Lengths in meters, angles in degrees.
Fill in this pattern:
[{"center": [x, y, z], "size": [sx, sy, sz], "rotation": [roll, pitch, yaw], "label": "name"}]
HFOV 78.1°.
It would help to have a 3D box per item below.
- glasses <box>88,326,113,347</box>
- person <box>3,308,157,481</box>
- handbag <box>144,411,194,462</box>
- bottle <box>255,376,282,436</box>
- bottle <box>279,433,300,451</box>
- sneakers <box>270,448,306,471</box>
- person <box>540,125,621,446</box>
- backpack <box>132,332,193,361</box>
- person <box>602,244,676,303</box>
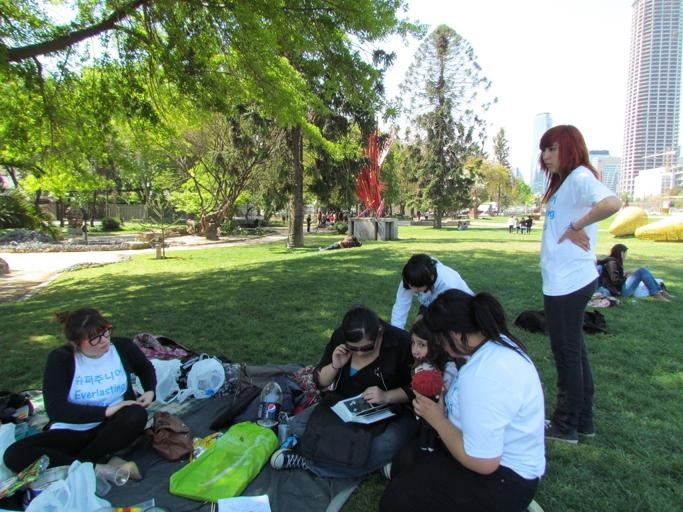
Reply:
[{"center": [-2.217, 0.743, 3.908], "size": [0.068, 0.152, 0.215], "rotation": [1, 8, 30], "label": "glasses"}, {"center": [-2.355, 1.197, 3.878], "size": [1.215, 1.423, 0.526], "rotation": [-8, 9, -32], "label": "person"}, {"center": [-1.640, 1.730, 4.055], "size": [0.325, 0.158, 0.416], "rotation": [-6, 31, -46], "label": "handbag"}, {"center": [-0.735, 1.542, 4.376], "size": [0.159, 0.462, 0.182], "rotation": [9, -36, -12], "label": "bottle"}, {"center": [-0.497, 1.791, 4.067], "size": [0.069, 0.093, 0.215], "rotation": [1, -16, 23], "label": "bottle"}, {"center": [-0.469, 1.846, 3.867], "size": [0.153, 0.144, 0.410], "rotation": [-5, -14, 30], "label": "sneakers"}, {"center": [2.209, 0.266, 3.988], "size": [0.638, 2.967, 0.549], "rotation": [0, 8, 26], "label": "person"}, {"center": [-2.343, 1.197, 5.496], "size": [0.524, 0.202, 0.408], "rotation": [6, 0, -17], "label": "backpack"}, {"center": [5.691, 0.275, 8.361], "size": [1.259, 1.054, 0.680], "rotation": [2, 8, 22], "label": "person"}]
